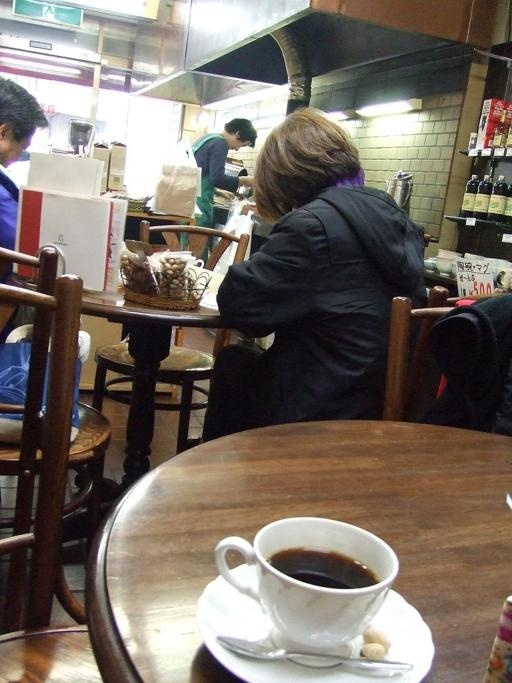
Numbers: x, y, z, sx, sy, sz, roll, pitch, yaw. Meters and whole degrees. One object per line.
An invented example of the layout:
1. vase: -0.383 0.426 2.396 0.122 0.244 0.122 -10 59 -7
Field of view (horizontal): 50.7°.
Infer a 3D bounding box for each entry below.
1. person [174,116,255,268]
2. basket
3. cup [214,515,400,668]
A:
1. person: -0.389 -1.421 5.304 0.679 1.496 0.593 -8 37 -32
2. basket: -0.302 -0.153 1.726 0.287 0.103 0.285 0 6 -22
3. cup: 0.027 0.154 0.330 0.107 0.056 0.082 7 5 -2
